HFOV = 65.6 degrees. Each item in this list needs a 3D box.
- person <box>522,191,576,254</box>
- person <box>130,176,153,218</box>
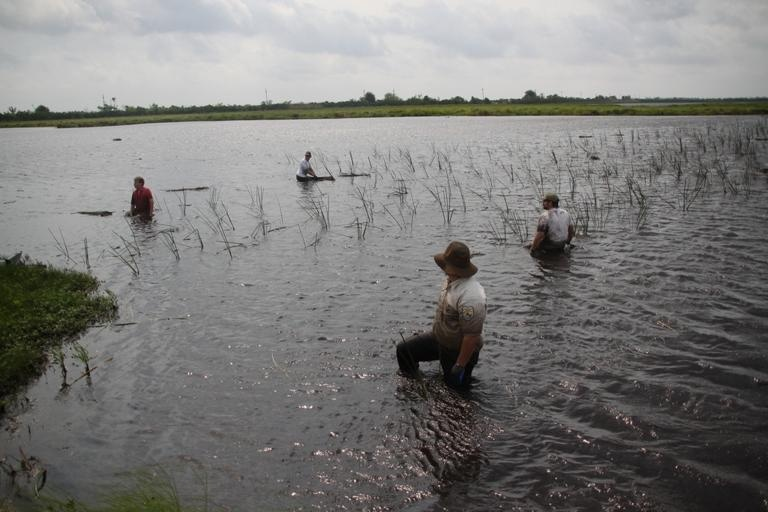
[{"bbox_3d":[6.201,-1.185,22.330,1.629,2.279,0.501,-9,16,-18],"label":"person"},{"bbox_3d":[-12.063,-2.921,29.678,1.370,1.979,0.998,9,20,40],"label":"person"}]
